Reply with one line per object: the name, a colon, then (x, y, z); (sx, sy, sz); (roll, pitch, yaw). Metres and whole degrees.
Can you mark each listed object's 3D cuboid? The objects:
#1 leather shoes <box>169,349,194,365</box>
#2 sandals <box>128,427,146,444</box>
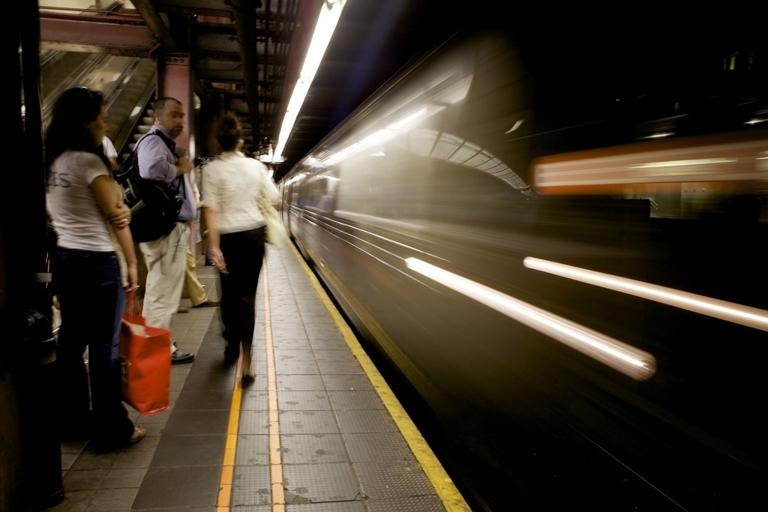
leather shoes: (-1.777, 0.898, 4.704); (0.248, 0.087, 0.085); (-3, -4, 11)
sandals: (-1.601, 1.165, 3.471); (0.047, 0.045, 0.111); (13, 8, 3)
